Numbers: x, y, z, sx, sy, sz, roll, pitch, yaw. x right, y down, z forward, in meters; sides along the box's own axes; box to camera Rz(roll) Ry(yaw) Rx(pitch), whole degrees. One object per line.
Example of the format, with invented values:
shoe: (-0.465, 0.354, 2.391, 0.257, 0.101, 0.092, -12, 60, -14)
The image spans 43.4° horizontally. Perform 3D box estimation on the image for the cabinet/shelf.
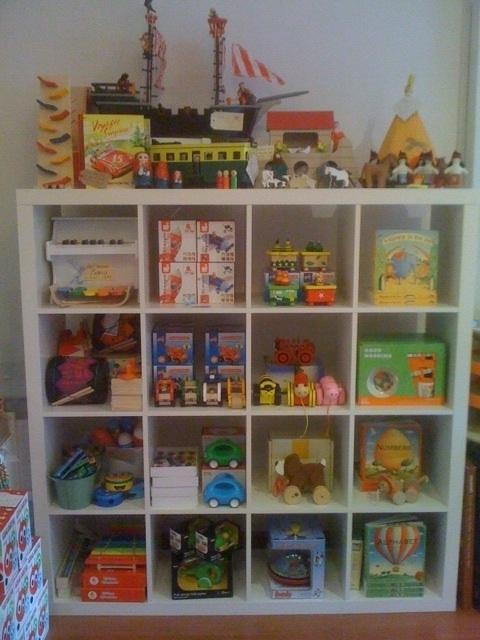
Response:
cabinet/shelf: (0.041, 0.287, 2.115, 1.532, 1.406, 0.439, -1, 4, -3)
